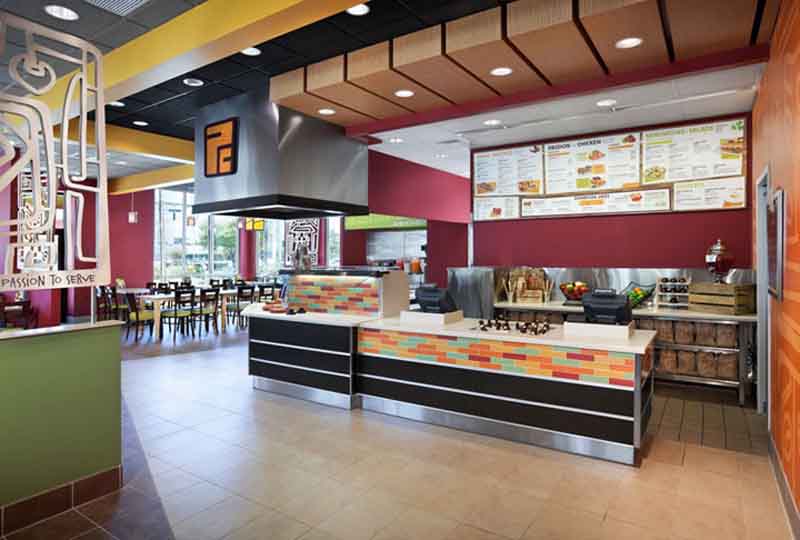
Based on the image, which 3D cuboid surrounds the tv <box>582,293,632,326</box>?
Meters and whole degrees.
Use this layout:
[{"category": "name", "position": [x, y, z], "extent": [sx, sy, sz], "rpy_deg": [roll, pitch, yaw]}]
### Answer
[{"category": "tv", "position": [2.095, 0.402, 5.104], "extent": [0.439, 0.362, 0.342], "rpy_deg": [0, -2, 34]}]

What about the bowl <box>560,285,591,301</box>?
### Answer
[{"category": "bowl", "position": [2.455, 0.308, 7.179], "extent": [0.369, 0.176, 0.356], "rpy_deg": [0, -3, 0]}]

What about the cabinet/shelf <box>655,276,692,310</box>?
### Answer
[{"category": "cabinet/shelf", "position": [3.651, 0.308, 6.679], "extent": [0.466, 0.438, 0.182], "rpy_deg": [-1, -3, 39]}]

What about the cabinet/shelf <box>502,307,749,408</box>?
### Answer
[{"category": "cabinet/shelf", "position": [2.913, 0.949, 6.822], "extent": [3.230, 1.110, 0.619], "rpy_deg": [7, 14, 31]}]

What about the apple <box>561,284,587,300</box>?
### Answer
[{"category": "apple", "position": [2.457, 0.301, 7.175], "extent": [0.356, 0.186, 0.345], "rpy_deg": [1, -4, 6]}]

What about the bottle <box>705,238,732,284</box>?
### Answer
[{"category": "bottle", "position": [4.045, -0.107, 6.376], "extent": [0.263, 0.558, 0.445], "rpy_deg": [7, 14, 33]}]
